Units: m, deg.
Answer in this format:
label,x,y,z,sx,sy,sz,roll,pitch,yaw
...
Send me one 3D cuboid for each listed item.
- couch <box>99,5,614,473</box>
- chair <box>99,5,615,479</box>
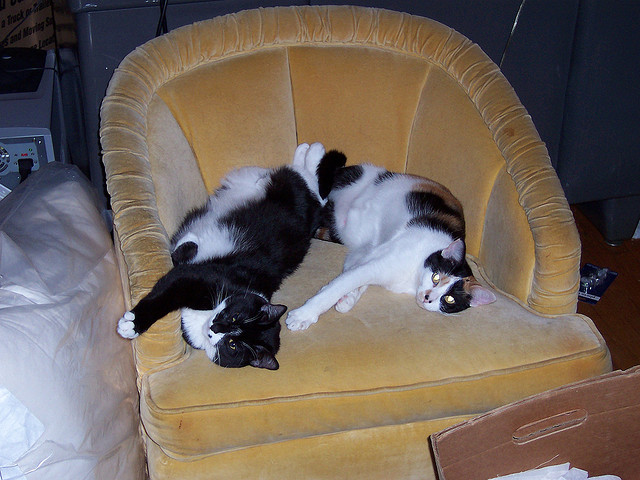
label,x,y,z,sx,sy,sz,roll,pitch,yaw
couch,0.020,0.165,2.397,1.517,1.483,1.600,-7,56,-8
chair,0.052,0.144,2.357,1.585,1.707,1.598,-10,52,-5
